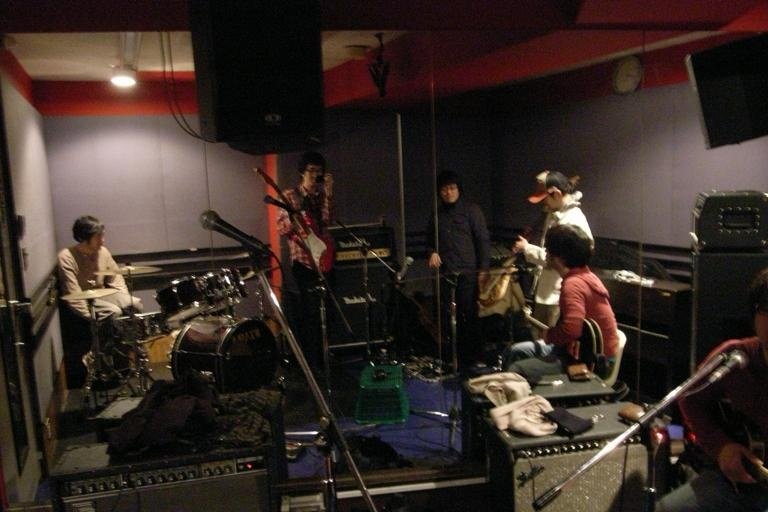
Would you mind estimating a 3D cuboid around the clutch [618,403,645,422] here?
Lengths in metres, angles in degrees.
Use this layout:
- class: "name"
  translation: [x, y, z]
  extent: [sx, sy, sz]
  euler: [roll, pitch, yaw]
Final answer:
- class: "clutch"
  translation: [1.492, 0.940, 3.706]
  extent: [0.124, 0.038, 0.128]
  euler: [2, 25, 45]

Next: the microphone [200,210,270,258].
- class: "microphone"
  translation: [-0.960, -0.140, 3.871]
  extent: [0.112, 0.382, 0.114]
  euler: [-24, 36, 48]

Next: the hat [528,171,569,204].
- class: "hat"
  translation: [1.151, -0.518, 4.394]
  extent: [0.283, 0.185, 0.183]
  euler: [-18, 11, 10]

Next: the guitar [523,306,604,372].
- class: "guitar"
  translation: [1.322, 0.574, 4.363]
  extent: [0.478, 0.249, 0.071]
  euler: [24, 6, -5]

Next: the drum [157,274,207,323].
- class: "drum"
  translation: [-1.433, 0.280, 4.317]
  extent: [0.246, 0.255, 0.432]
  euler: [-15, 4, -19]

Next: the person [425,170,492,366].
- class: "person"
  translation: [0.559, 0.157, 4.613]
  extent: [0.430, 1.602, 0.581]
  euler: [-7, 8, -7]

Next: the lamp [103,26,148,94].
- class: "lamp"
  translation: [-1.675, -1.286, 4.030]
  extent: [0.253, 0.395, 0.305]
  euler: [-7, 7, -3]

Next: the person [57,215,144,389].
- class: "person"
  translation: [-2.056, 0.332, 4.450]
  extent: [0.456, 1.275, 0.978]
  euler: [-13, 10, -41]

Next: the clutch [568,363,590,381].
- class: "clutch"
  translation: [1.278, 0.761, 4.032]
  extent: [0.146, 0.092, 0.102]
  euler: [-6, 7, 8]

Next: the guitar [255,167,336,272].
- class: "guitar"
  translation: [-0.603, -0.212, 4.165]
  extent: [0.390, 0.793, 0.858]
  euler: [-4, 8, 15]

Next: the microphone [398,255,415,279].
- class: "microphone"
  translation: [0.139, 0.084, 4.556]
  extent: [0.101, 0.195, 0.172]
  euler: [-13, 10, -43]

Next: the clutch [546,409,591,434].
- class: "clutch"
  translation: [1.100, 0.984, 3.676]
  extent: [0.149, 0.048, 0.155]
  euler: [-5, 15, -32]
